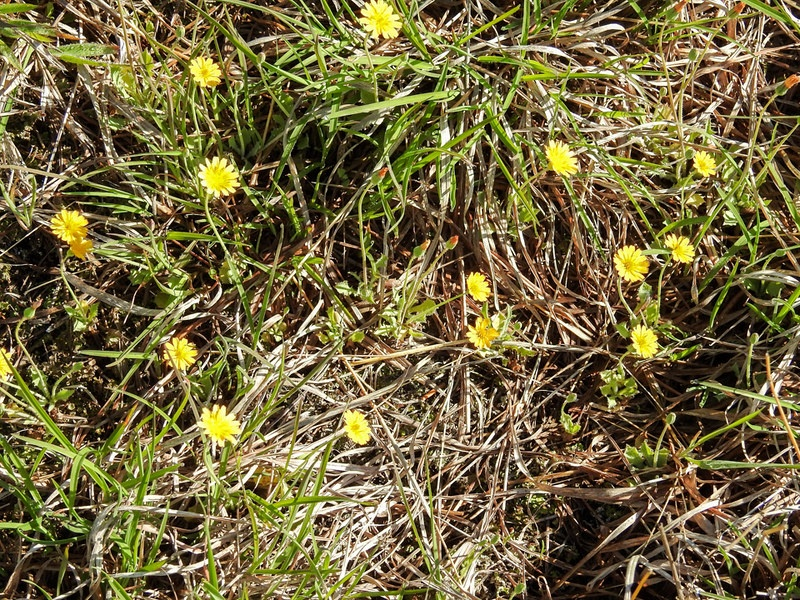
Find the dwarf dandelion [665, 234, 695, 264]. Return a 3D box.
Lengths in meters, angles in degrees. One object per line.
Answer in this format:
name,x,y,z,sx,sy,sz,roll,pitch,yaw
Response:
dwarf dandelion,0.796,-0.147,2.147,0.079,0.024,0.082,-44,82,-5

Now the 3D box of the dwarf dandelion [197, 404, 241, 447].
dwarf dandelion,-0.470,0.332,1.922,0.108,0.028,0.115,-5,85,-37

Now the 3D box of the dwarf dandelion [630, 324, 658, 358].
dwarf dandelion,0.679,0.116,2.114,0.082,0.025,0.088,-37,83,1

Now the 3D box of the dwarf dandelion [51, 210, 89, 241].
dwarf dandelion,-0.861,-0.183,1.947,0.081,0.023,0.091,0,90,-9

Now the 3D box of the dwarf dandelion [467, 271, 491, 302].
dwarf dandelion,0.220,-0.032,2.096,0.079,0.028,0.079,-51,121,-35

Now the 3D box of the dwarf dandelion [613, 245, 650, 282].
dwarf dandelion,0.650,-0.103,2.141,0.096,0.071,0.108,0,73,-2

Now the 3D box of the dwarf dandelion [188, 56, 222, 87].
dwarf dandelion,-0.523,-0.610,2.006,0.081,0.021,0.083,38,77,-18

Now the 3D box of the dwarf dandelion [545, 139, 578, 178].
dwarf dandelion,0.437,-0.382,2.092,0.101,0.050,0.113,-1,70,-16
